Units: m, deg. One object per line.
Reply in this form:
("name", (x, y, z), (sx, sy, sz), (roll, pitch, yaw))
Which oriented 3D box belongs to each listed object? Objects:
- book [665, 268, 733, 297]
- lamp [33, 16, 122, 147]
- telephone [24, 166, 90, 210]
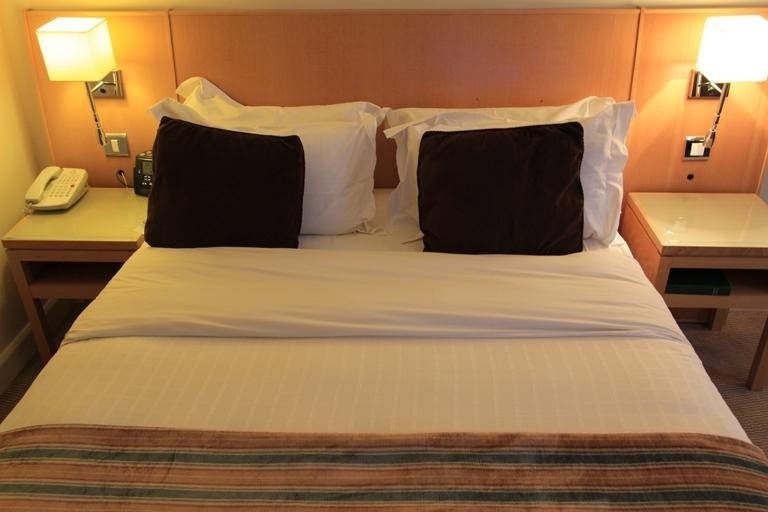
("book", (1.545, 0.129, 2.888), (0.188, 0.044, 0.174), (5, 31, 12))
("lamp", (-1.586, -0.888, 3.087), (0.349, 0.665, 0.333), (-5, 27, -9))
("telephone", (-1.744, -0.369, 3.141), (0.255, 0.121, 0.311), (-2, 35, 2))
